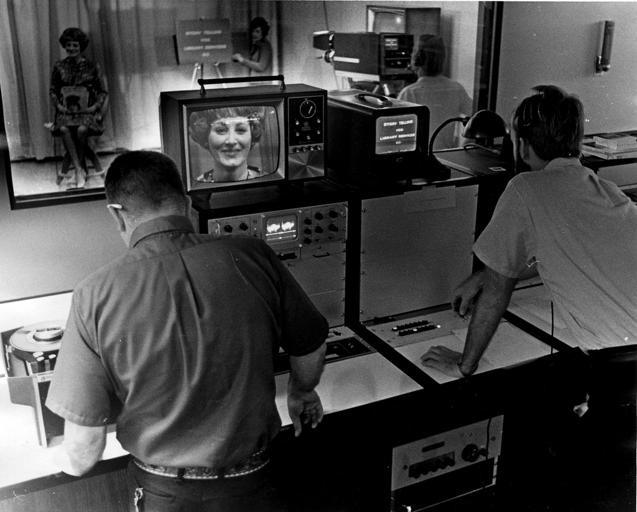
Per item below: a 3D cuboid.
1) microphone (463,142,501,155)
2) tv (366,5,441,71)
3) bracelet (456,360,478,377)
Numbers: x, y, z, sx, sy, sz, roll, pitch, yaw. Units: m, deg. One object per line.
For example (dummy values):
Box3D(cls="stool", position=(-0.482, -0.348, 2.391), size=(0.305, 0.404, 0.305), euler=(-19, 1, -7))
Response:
Box3D(cls="microphone", position=(0.857, -0.575, 3.027), size=(0.097, 0.027, 0.098), euler=(-8, 23, -21))
Box3D(cls="tv", position=(0.414, -1.098, 2.823), size=(0.292, 0.232, 0.290), euler=(13, 18, 36))
Box3D(cls="bracelet", position=(0.528, 0.399, 2.014), size=(0.053, 0.042, 0.053), euler=(-11, 21, -24))
